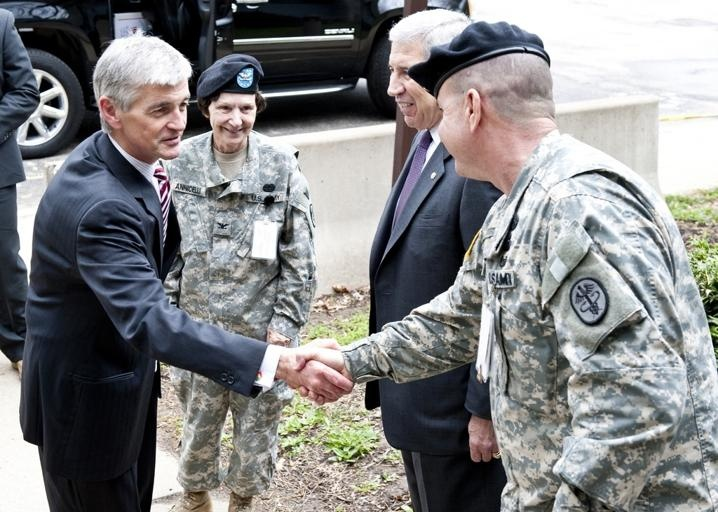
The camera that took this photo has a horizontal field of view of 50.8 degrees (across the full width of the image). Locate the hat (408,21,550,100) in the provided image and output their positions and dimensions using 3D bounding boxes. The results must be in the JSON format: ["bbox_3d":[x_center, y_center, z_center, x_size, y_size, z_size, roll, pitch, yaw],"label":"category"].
[{"bbox_3d":[0.420,-0.730,2.680,0.364,0.137,0.276,-16,6,-14],"label":"hat"}]

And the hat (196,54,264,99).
[{"bbox_3d":[-0.699,-0.973,4.062,0.405,0.173,0.367,6,20,33],"label":"hat"}]

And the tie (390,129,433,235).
[{"bbox_3d":[0.258,-0.403,3.625,0.074,0.710,0.105,39,-39,-22],"label":"tie"}]
